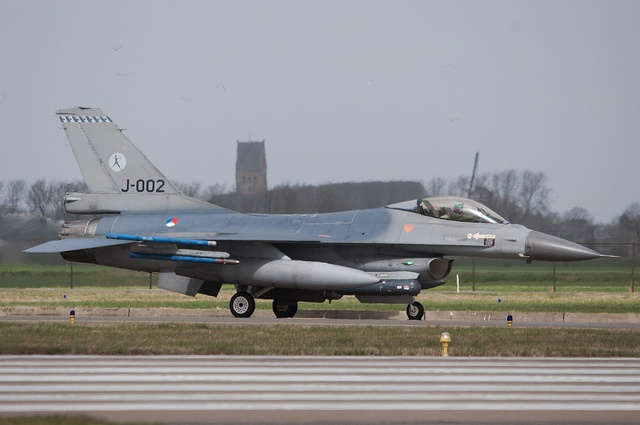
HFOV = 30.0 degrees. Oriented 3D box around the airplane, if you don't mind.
[{"bbox_3d":[-0.979,0.585,38.750,13.732,3.823,8.993,2,2,7],"label":"airplane"}]
